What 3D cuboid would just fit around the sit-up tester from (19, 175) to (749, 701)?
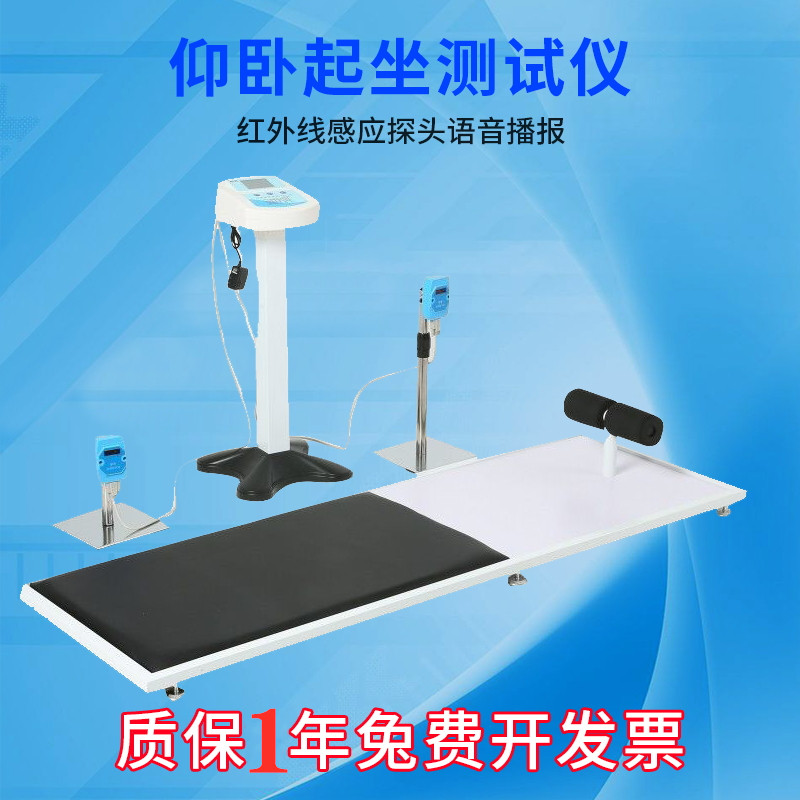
[{"bbox_3d":[-0.210,-0.047,3.806,2.551,1.214,1.757,-14,27,-36],"label":"sit-up tester"}]
